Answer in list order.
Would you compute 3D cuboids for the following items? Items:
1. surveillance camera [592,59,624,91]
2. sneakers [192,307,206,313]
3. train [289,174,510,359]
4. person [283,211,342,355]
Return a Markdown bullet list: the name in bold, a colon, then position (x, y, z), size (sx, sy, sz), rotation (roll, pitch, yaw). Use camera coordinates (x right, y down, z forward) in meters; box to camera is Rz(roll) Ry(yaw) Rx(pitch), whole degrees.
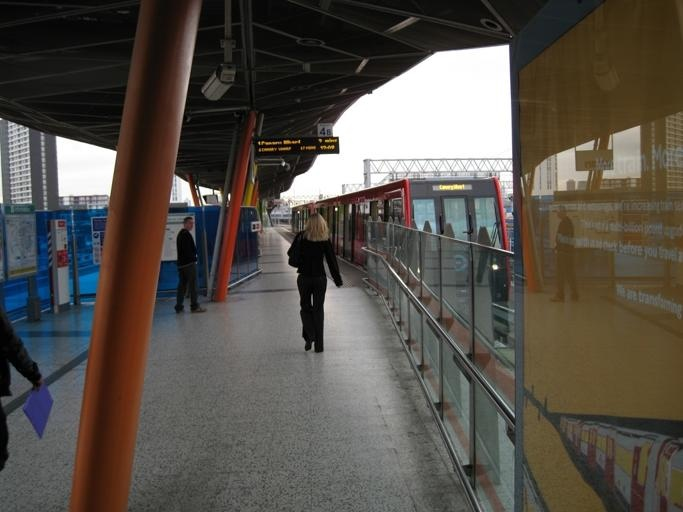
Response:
- **surveillance camera**: position (1.037, -0.712, 1.881), size (0.036, 0.114, 0.074), rotation (3, -16, -34)
- **sneakers**: position (-3.336, 1.237, 11.215), size (0.277, 0.148, 0.133), rotation (-2, 12, -13)
- **train**: position (1.048, -0.883, 24.077), size (3.258, 4.631, 25.789), rotation (0, 3, -10)
- **person**: position (-0.449, 0.393, 7.999), size (0.836, 2.251, 0.872), rotation (-1, 3, -2)
